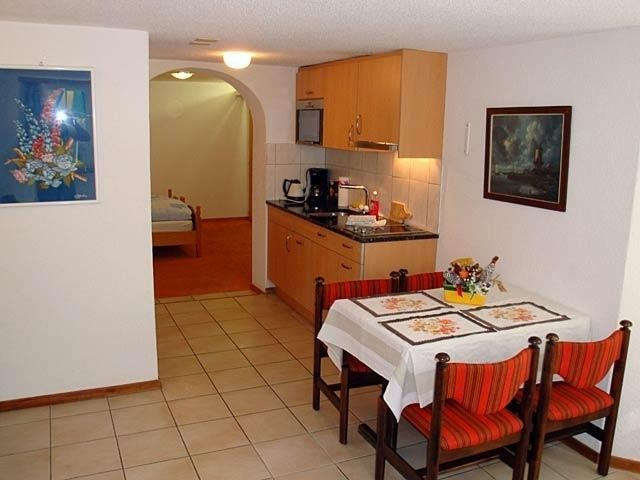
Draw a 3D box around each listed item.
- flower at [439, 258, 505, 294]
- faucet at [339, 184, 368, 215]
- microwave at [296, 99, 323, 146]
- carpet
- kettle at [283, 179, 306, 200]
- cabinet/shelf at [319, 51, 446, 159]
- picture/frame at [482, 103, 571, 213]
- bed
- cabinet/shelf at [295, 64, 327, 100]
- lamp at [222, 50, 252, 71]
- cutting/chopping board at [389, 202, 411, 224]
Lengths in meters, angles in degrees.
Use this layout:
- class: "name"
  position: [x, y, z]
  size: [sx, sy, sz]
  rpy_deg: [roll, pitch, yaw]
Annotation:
- class: "flower"
  position: [1.067, 0.251, 3.247]
  size: [0.323, 0.153, 0.324]
  rpy_deg: [0, 1, -22]
- class: "faucet"
  position: [0.383, -0.456, 5.389]
  size: [0.330, 0.210, 0.330]
  rpy_deg: [-4, 13, -30]
- class: "microwave"
  position: [-0.110, -1.315, 5.341]
  size: [0.268, 0.470, 0.508]
  rpy_deg: [-3, 14, -17]
- class: "carpet"
  position: [-1.636, 0.352, 6.805]
  size: [1.126, 0.298, 1.239]
  rpy_deg: [-2, 15, -17]
- class: "kettle"
  position: [-0.355, -0.606, 5.749]
  size: [0.280, 0.256, 0.201]
  rpy_deg: [16, 19, 42]
- class: "cabinet/shelf"
  position: [0.597, -1.237, 4.316]
  size: [0.357, 0.628, 0.994]
  rpy_deg: [-2, 16, -18]
- class: "picture/frame"
  position: [1.515, -0.595, 3.435]
  size: [0.030, 0.774, 0.721]
  rpy_deg: [-5, 14, -26]
- class: "bed"
  position: [-2.286, -0.229, 7.688]
  size: [0.688, 0.506, 1.161]
  rpy_deg: [-1, 21, -11]
- class: "cabinet/shelf"
  position: [-0.087, -1.731, 5.241]
  size: [0.235, 0.330, 0.418]
  rpy_deg: [-4, 16, -20]
- class: "lamp"
  position: [-0.779, -1.695, 4.509]
  size: [0.251, 0.122, 0.264]
  rpy_deg: [4, 13, 9]
- class: "cutting/chopping board"
  position: [0.807, -0.267, 4.743]
  size: [0.067, 0.132, 0.191]
  rpy_deg: [-6, 16, -23]
